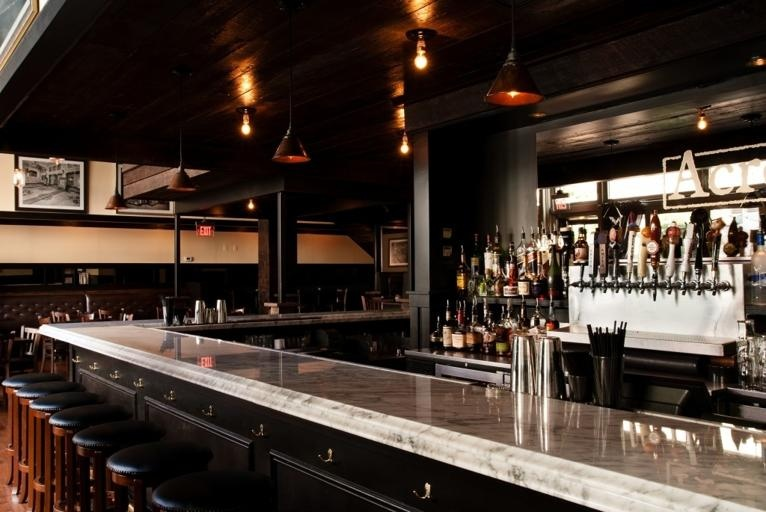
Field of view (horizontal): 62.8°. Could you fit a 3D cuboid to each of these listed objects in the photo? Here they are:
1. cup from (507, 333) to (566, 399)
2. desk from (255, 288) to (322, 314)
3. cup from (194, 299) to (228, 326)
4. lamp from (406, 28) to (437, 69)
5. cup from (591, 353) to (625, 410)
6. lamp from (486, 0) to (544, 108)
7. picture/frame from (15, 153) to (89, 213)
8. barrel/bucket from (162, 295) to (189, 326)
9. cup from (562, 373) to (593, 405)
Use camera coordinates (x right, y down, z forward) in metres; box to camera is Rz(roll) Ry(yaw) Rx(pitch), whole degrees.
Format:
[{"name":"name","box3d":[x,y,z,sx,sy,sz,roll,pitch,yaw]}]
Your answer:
[{"name":"cup","box3d":[0.828,0.596,3.344,0.283,0.335,0.190,0,-2,13]},{"name":"desk","box3d":[-1.866,0.889,12.258,0.903,0.778,0.576,2,-4,-30]},{"name":"cup","box3d":[-1.766,0.589,6.425,0.319,0.196,0.248,3,-3,-39]},{"name":"lamp","box3d":[0.317,-1.644,5.008,0.242,0.252,0.235,1,-1,19]},{"name":"cup","box3d":[1.178,0.656,3.281,0.145,0.262,0.065,0,-2,16]},{"name":"lamp","box3d":[0.801,-1.279,3.845,0.305,0.688,0.365,-1,-3,31]},{"name":"picture/frame","box3d":[-6.647,-1.424,12.498,1.249,1.091,0.093,3,-8,-37]},{"name":"barrel/bucket","box3d":[-2.049,0.547,6.204,0.251,0.271,0.241,0,-2,0]},{"name":"cup","box3d":[1.041,0.706,3.323,0.146,0.136,0.150,0,-7,0]}]
